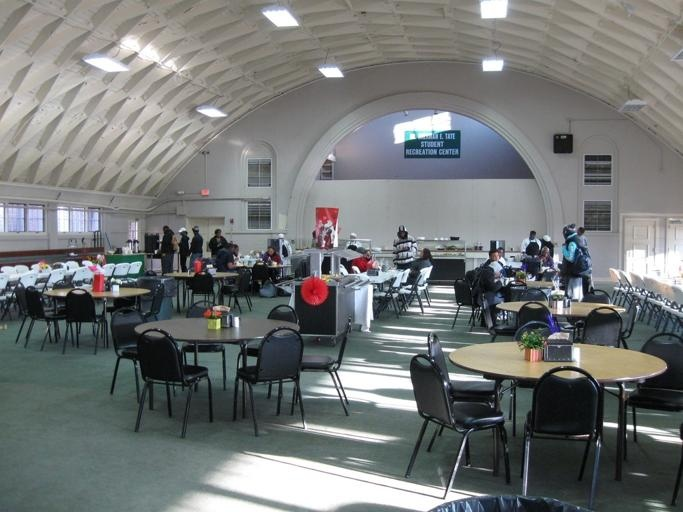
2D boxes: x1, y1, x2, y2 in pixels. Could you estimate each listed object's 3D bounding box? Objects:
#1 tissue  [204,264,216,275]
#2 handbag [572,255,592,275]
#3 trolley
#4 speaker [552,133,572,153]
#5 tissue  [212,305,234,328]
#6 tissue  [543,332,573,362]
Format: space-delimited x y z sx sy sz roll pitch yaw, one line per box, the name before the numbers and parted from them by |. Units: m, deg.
tissue  | -3.185 0.344 12.191 0.278 0.370 0.388 -3 3 -19
handbag | 4.317 0.172 9.021 0.313 0.346 0.199 7 13 34
trolley | -0.207 0.992 9.285 1.294 1.038 2.255 1 -2 9
speaker | 8.047 -4.081 18.112 0.683 0.730 0.348 1 4 17
tissue  | -1.313 0.662 5.461 0.279 0.262 0.167 -2 0 1
tissue  | 1.847 0.764 4.183 0.317 0.209 0.194 -4 6 -45
